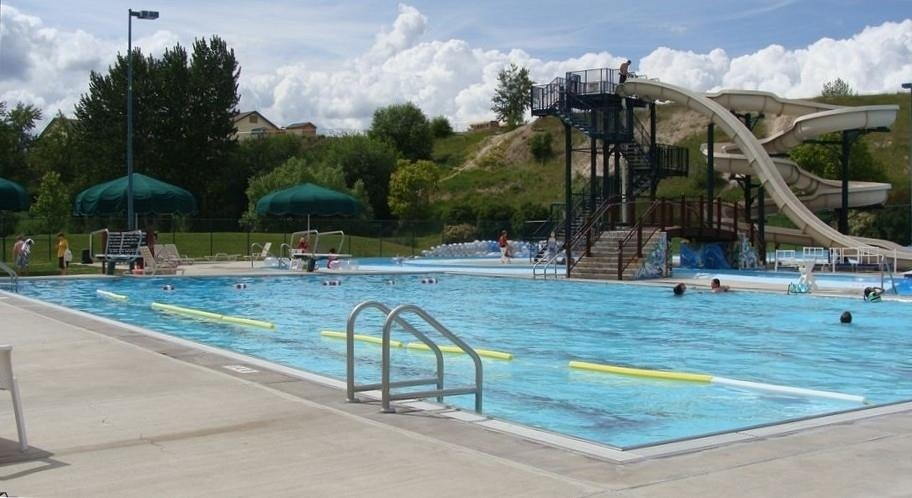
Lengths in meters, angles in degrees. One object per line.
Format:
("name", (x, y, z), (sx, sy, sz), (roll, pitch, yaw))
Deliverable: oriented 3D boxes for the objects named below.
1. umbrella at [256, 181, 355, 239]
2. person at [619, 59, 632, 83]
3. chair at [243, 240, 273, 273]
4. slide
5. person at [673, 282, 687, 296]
("umbrella", (-7.754, -2.086, 46.741), (3.745, 1.877, 3.409), (-5, 3, -35))
("person", (8.793, -9.326, 48.276), (0.497, 1.276, 1.711), (1, 0, 9))
("chair", (-11.513, 0.432, 54.064), (1.878, 2.092, 1.799), (5, -5, -41))
("slide", (16.873, -4.368, 47.703), (14.097, 9.484, 8.012), (1, 0, -11))
("person", (9.012, 1.607, 37.345), (0.521, 0.548, 1.451), (1, 0, 14))
